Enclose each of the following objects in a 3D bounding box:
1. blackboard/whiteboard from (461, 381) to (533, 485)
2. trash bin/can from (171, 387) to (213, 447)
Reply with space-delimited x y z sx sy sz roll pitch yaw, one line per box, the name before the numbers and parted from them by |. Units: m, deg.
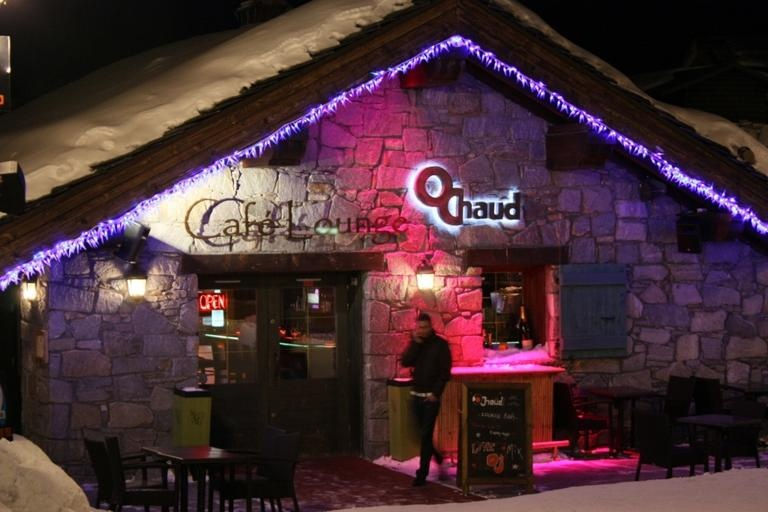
blackboard/whiteboard | 1.639 2.610 14.190 1.096 1.508 0.489 5 13 2
trash bin/can | -2.650 2.250 13.482 0.496 0.790 0.770 1 13 -13
